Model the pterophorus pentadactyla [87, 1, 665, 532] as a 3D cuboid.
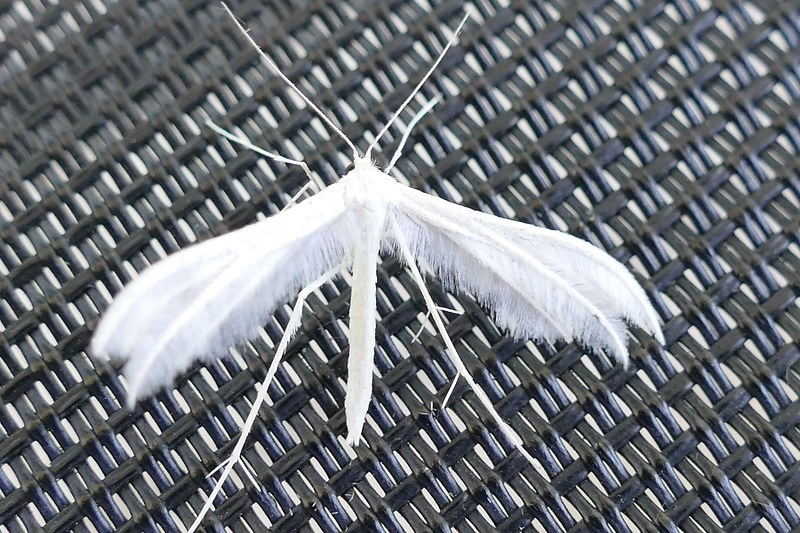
[{"bbox_3d":[-0.027,0.123,3.675,0.979,0.472,0.387,10,-56,-3],"label":"pterophorus pentadactyla"}]
